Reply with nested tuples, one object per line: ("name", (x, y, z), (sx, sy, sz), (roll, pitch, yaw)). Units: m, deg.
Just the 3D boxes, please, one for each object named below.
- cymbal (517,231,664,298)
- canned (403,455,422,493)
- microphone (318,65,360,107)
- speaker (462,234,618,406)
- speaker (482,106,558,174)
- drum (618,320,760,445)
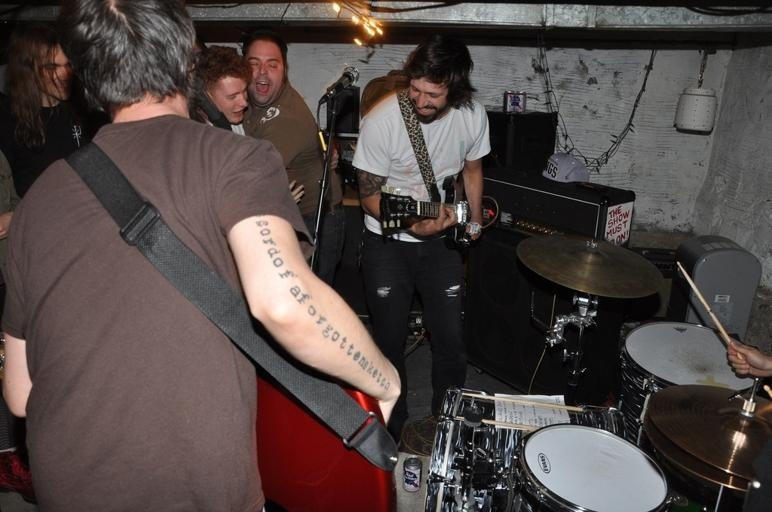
("cymbal", (1.154, 0.067, 3.232), (0.500, 0.112, 0.484), (7, 26, -12))
("canned", (0.147, 1.193, 3.214), (0.099, 0.185, 0.113), (0, 19, 0))
("microphone", (-0.246, -0.890, 3.050), (0.103, 0.101, 0.367), (21, 37, 23))
("speaker", (1.001, 0.393, 3.659), (0.440, 0.774, 0.819), (-16, 33, -39))
("speaker", (1.163, -1.010, 5.156), (0.411, 0.489, 0.740), (17, 24, 40))
("drum", (1.535, 0.618, 3.201), (0.591, 0.565, 0.574), (5, 38, 7))
